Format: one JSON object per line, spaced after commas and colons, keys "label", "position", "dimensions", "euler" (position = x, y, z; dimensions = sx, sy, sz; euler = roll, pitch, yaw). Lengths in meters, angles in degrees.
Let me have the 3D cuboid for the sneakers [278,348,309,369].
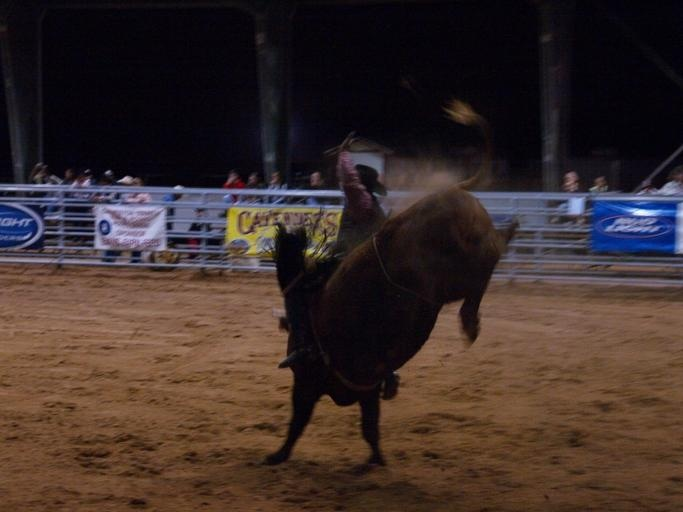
{"label": "sneakers", "position": [-0.388, 0.853, 6.632], "dimensions": [0.267, 0.158, 0.062], "euler": [-35, 15, 10]}
